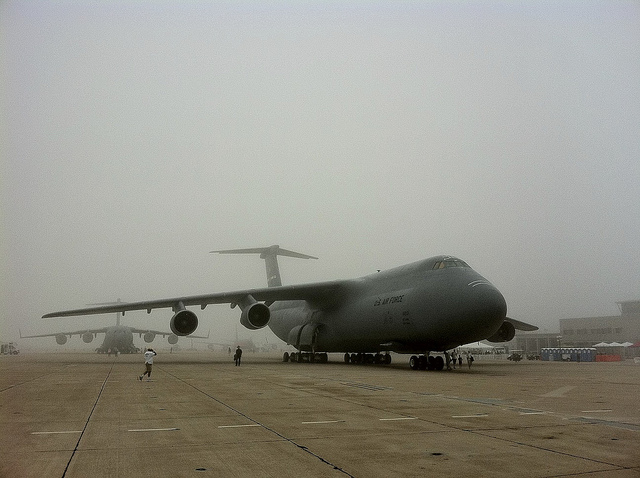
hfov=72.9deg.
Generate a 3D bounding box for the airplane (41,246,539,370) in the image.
[{"bbox_3d":[1.591,4.467,24.389,16.973,5.416,9.269,-8,-12,27],"label":"airplane"}]
